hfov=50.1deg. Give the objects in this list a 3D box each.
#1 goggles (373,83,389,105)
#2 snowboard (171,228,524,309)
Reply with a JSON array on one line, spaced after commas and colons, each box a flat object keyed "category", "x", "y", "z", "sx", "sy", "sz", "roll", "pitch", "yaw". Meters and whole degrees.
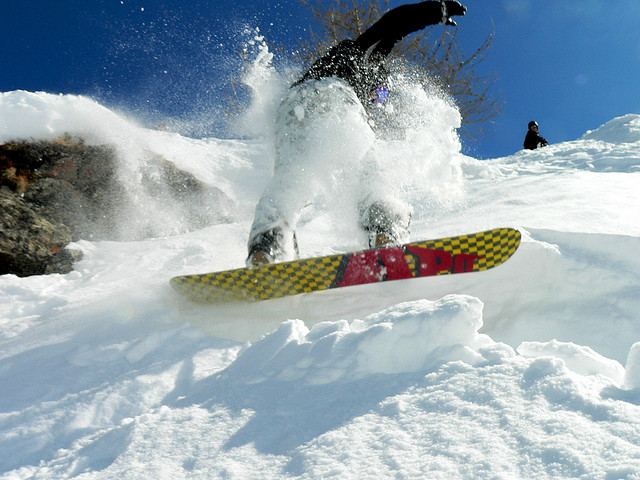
[{"category": "goggles", "x": 0.669, "y": -1.573, "z": 7.345, "sx": 0.088, "sy": 0.199, "sz": 0.309, "roll": -7, "pitch": 3, "yaw": 30}, {"category": "snowboard", "x": 0.298, "y": 0.261, "z": 5.846, "sx": 3.554, "sy": 0.500, "sz": 0.154, "roll": -6, "pitch": -15, "yaw": -5}]
